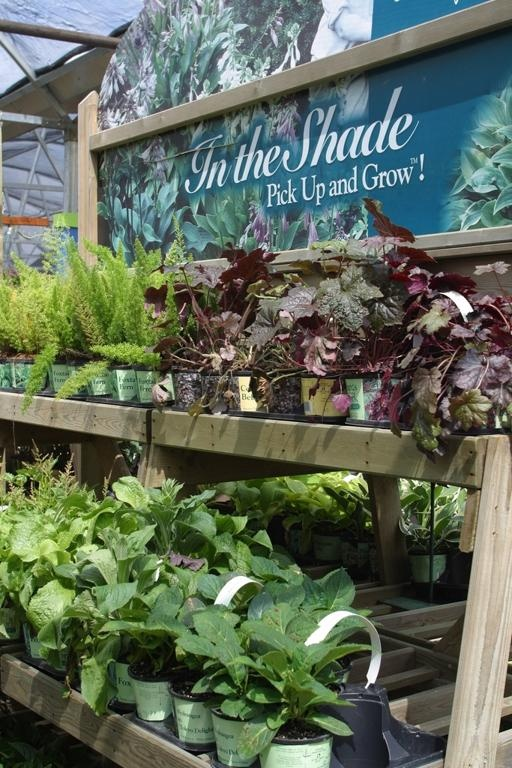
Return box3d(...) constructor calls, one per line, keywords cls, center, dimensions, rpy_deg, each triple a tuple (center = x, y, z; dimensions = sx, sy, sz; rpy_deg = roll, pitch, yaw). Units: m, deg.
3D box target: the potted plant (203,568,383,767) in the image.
box3d(cls="potted plant", center=(0.062, 0.405, 0.901), dimensions=(0.217, 0.214, 0.228), rpy_deg=(-1, -9, 21))
